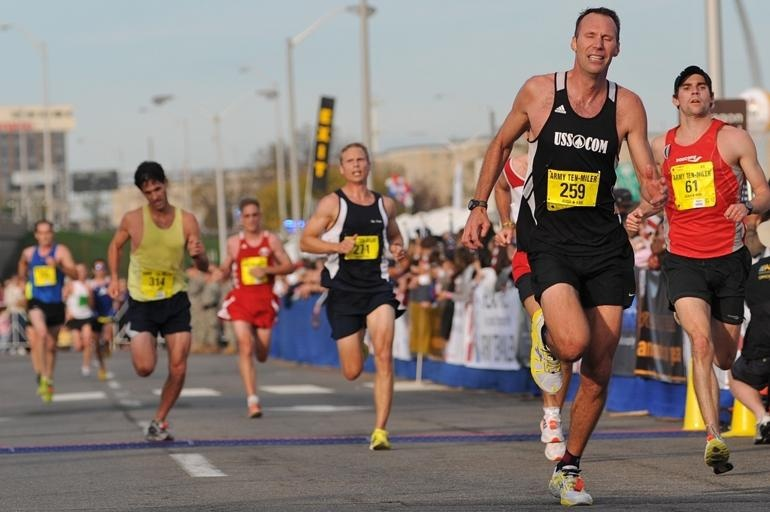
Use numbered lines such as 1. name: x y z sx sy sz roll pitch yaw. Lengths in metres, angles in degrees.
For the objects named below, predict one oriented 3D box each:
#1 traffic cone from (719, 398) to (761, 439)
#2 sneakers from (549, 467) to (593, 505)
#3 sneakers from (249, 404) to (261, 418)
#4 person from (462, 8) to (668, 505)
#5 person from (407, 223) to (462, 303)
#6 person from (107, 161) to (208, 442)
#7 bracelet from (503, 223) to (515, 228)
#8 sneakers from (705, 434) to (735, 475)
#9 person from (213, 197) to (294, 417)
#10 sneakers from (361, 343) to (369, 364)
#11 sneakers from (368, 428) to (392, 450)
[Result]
1. traffic cone: 3.494 1.629 11.396 0.370 0.403 0.373 0 -9 -3
2. sneakers: 1.326 1.634 8.069 0.302 0.260 0.237 -1 5 8
3. sneakers: -1.498 1.808 13.165 0.148 0.184 0.167 -2 5 -6
4. person: 1.349 0.022 8.172 1.319 3.560 0.734 -1 5 14
5. person: 0.816 0.177 18.630 0.790 0.752 2.192 -7 42 7
6. person: -2.214 0.440 11.168 0.966 2.731 0.564 -3 5 -10
7. bracelet: 1.132 -0.273 10.406 0.086 0.062 0.092 2 0 12
8. sneakers: 2.616 1.593 8.967 0.173 0.378 0.186 -23 37 13
9. person: -1.568 0.669 13.699 0.894 2.681 1.250 -3 5 -9
10. sneakers: -0.177 0.982 11.137 0.072 0.210 0.091 -4 21 0
11. sneakers: -0.049 1.696 10.459 0.199 0.199 0.192 -2 5 3
